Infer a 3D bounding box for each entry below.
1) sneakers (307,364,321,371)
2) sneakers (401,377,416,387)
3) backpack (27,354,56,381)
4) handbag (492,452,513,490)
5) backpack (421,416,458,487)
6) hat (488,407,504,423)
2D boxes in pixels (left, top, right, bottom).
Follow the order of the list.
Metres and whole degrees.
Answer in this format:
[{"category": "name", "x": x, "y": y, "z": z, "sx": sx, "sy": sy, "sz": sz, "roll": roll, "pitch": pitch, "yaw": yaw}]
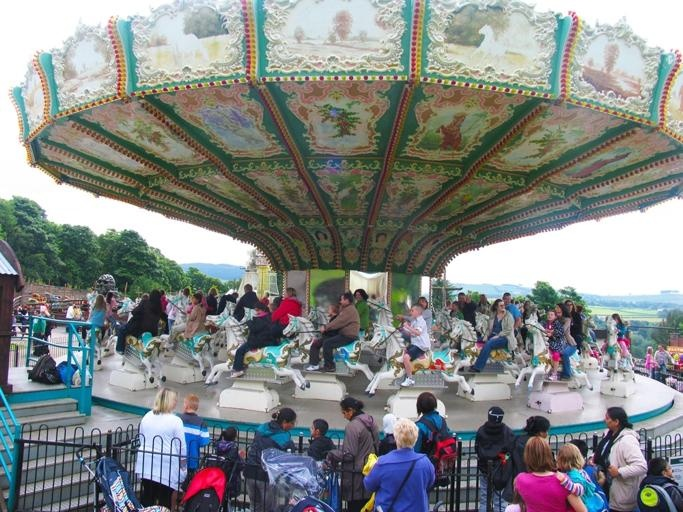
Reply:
[{"category": "sneakers", "x": -0.629, "y": 2.506, "z": 11.378, "sx": 0.287, "sy": 0.216, "sz": 0.105, "roll": 3, "pitch": -10, "yaw": 2}, {"category": "sneakers", "x": 1.314, "y": 2.513, "z": 10.080, "sx": 0.314, "sy": 0.187, "sz": 0.118, "roll": -3, "pitch": -3, "yaw": -2}, {"category": "backpack", "x": -6.184, "y": 2.313, "z": 10.415, "sx": 0.571, "sy": 0.570, "sz": 0.320, "roll": 3, "pitch": -5, "yaw": 29}, {"category": "handbag", "x": 2.031, "y": 2.723, "z": 6.387, "sx": 0.247, "sy": 0.500, "sz": 0.347, "roll": 9, "pitch": -21, "yaw": 2}, {"category": "backpack", "x": 1.216, "y": 2.456, "z": 6.504, "sx": 0.438, "sy": 0.733, "sz": 0.275, "roll": 1, "pitch": -9, "yaw": 6}, {"category": "hat", "x": 2.027, "y": 2.093, "z": 6.678, "sx": 0.176, "sy": 0.211, "sz": 0.223, "roll": 0, "pitch": -10, "yaw": 10}]
